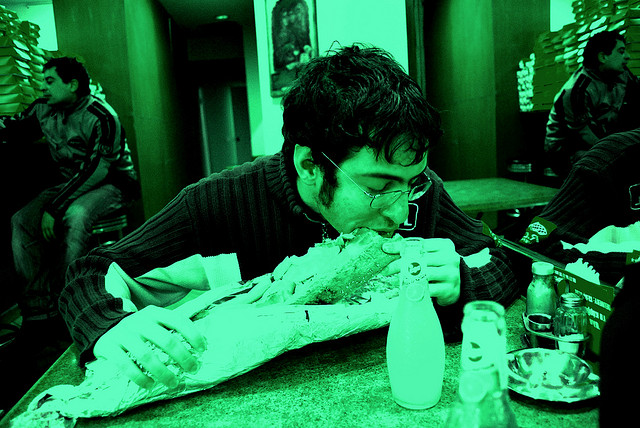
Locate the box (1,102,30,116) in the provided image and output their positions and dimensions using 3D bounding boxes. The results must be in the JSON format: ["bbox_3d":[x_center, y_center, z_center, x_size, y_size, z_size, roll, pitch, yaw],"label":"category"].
[{"bbox_3d":[-1.746,-0.598,3.291,0.146,0.074,0.076,-15,18,-35],"label":"box"}]

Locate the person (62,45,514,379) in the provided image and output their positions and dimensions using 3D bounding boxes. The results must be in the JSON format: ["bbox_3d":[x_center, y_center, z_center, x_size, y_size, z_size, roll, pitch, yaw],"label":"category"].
[{"bbox_3d":[-0.111,0.081,1.952,1.489,0.804,0.897,-11,23,-7],"label":"person"}]

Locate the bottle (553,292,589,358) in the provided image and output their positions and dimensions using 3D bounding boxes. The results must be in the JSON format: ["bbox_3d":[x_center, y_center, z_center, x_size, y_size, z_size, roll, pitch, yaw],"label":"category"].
[{"bbox_3d":[0.720,0.330,1.666,0.103,0.189,0.106,1,3,0],"label":"bottle"}]

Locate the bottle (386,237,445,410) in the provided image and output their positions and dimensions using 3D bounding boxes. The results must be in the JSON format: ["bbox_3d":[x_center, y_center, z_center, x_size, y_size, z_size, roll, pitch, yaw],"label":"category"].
[{"bbox_3d":[0.245,0.302,1.511,0.118,0.447,0.102,-15,18,-32],"label":"bottle"}]

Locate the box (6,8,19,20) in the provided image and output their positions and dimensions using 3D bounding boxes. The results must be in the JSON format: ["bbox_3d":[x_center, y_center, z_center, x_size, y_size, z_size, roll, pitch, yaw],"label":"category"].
[{"bbox_3d":[-1.631,-1.056,3.046,0.021,0.049,0.117,-8,15,-10],"label":"box"}]

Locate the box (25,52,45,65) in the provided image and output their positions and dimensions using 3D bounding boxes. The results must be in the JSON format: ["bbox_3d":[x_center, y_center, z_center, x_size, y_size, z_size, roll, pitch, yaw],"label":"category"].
[{"bbox_3d":[-1.648,-0.902,3.336,0.021,0.042,0.057,-41,1,-8],"label":"box"}]

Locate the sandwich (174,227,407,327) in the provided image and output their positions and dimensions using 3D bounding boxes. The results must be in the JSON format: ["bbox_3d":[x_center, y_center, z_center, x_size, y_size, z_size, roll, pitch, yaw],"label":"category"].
[{"bbox_3d":[-0.073,0.162,1.720,0.517,0.155,0.328,-30,20,-14],"label":"sandwich"}]

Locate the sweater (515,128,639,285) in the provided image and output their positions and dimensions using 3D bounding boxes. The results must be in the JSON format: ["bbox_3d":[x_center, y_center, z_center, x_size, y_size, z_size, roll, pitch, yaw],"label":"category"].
[{"bbox_3d":[0.805,-0.041,1.739,0.134,0.430,0.394,-13,17,-27],"label":"sweater"}]

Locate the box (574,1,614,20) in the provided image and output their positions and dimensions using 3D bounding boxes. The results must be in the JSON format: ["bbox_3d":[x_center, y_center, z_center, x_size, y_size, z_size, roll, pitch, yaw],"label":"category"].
[{"bbox_3d":[0.783,-0.584,1.657,0.103,0.031,0.030,-27,50,18],"label":"box"}]

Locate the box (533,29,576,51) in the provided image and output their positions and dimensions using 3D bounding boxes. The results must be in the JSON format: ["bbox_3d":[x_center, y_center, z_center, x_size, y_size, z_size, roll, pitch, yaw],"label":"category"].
[{"bbox_3d":[0.697,-0.520,1.722,0.040,0.028,0.128,19,-11,-18],"label":"box"}]

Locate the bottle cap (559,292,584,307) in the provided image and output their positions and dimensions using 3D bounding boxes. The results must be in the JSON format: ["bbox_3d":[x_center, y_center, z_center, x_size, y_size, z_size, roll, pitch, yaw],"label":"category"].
[{"bbox_3d":[0.707,0.245,1.621,0.041,0.025,0.042,-3,4,14],"label":"bottle cap"}]

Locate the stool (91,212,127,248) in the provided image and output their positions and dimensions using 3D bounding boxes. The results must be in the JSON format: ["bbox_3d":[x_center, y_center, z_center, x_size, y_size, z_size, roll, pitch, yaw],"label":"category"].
[{"bbox_3d":[-1.241,0.086,3.351,0.156,0.194,0.168,-11,21,-32],"label":"stool"}]

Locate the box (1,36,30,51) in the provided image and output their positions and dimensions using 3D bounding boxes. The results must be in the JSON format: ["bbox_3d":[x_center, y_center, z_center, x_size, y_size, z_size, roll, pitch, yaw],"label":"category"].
[{"bbox_3d":[-1.646,-0.918,3.089,0.059,0.061,0.025,-4,59,23],"label":"box"}]
